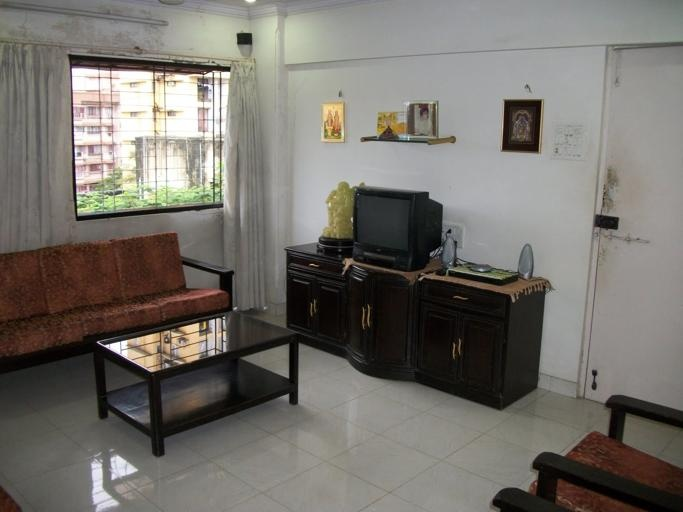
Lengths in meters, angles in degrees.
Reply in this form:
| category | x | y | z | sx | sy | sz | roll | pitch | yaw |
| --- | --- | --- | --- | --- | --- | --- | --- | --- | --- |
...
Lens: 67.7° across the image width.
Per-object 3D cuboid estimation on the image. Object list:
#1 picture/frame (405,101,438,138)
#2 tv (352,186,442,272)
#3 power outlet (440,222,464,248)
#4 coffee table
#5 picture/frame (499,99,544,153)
| category | x | y | z | sx | sy | sz | roll | pitch | yaw |
| --- | --- | --- | --- | --- | --- | --- | --- | --- | --- |
| picture/frame | 0.735 | -1.256 | 4.667 | 0.324 | 0.335 | 0.034 | 5 | 11 | 33 |
| tv | 0.444 | -0.352 | 4.773 | 0.694 | 0.903 | 0.928 | -9 | 14 | -43 |
| power outlet | 1.005 | -0.193 | 4.630 | 0.205 | 0.187 | 0.021 | 17 | 18 | 41 |
| coffee table | -1.108 | 0.915 | 3.977 | 1.312 | 0.645 | 0.905 | -13 | 18 | -41 |
| picture/frame | 1.511 | -1.100 | 4.260 | 0.026 | 0.562 | 0.422 | -8 | 12 | -44 |
